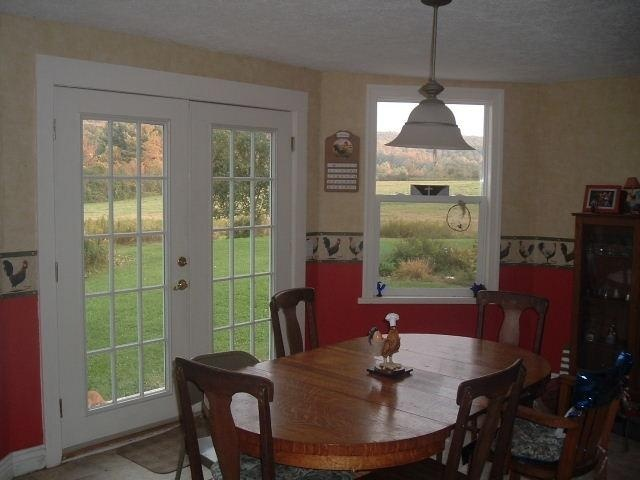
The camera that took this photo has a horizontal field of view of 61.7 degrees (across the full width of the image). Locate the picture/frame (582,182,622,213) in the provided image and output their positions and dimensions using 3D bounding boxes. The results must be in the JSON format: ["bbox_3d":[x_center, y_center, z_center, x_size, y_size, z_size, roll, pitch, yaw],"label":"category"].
[{"bbox_3d":[2.461,-0.362,4.675,0.111,0.270,0.298,9,-6,-37],"label":"picture/frame"}]
